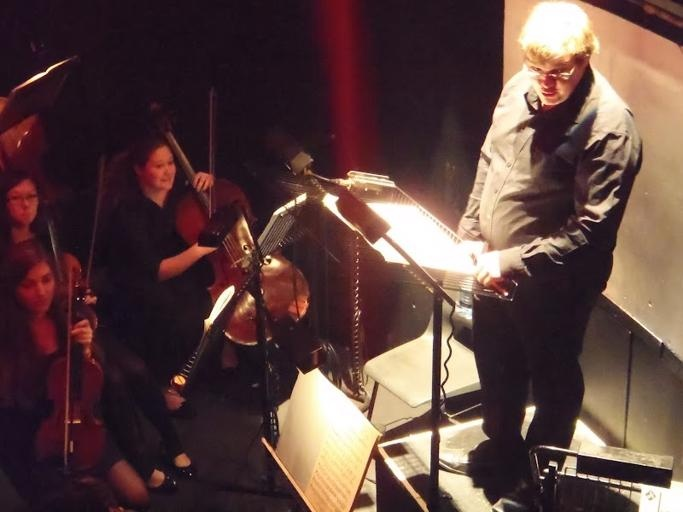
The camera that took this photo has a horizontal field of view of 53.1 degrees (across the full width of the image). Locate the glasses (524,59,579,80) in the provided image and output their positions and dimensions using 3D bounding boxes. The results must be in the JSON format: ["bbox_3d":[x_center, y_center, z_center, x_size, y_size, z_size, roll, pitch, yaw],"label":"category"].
[{"bbox_3d":[0.959,-0.836,3.118,0.210,0.079,0.084,4,14,22],"label":"glasses"}]

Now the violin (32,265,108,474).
[{"bbox_3d":[-1.528,0.708,3.949,0.356,1.012,0.187,0,-7,-7],"label":"violin"}]

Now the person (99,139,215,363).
[{"bbox_3d":[-1.159,0.022,4.236,0.572,1.426,0.572,22,26,28],"label":"person"}]
